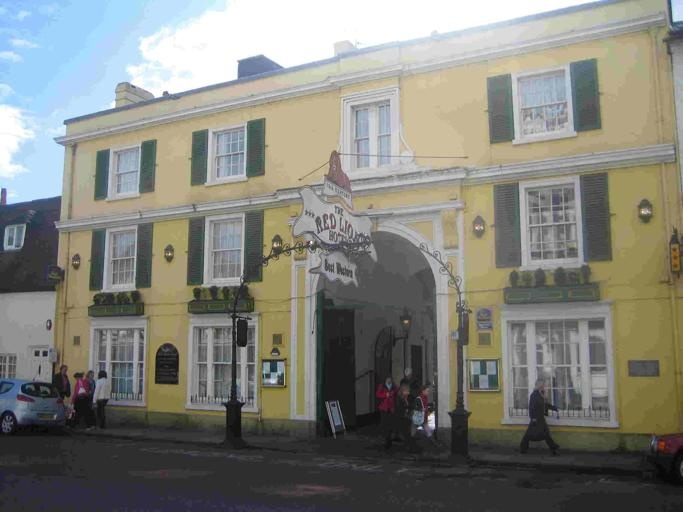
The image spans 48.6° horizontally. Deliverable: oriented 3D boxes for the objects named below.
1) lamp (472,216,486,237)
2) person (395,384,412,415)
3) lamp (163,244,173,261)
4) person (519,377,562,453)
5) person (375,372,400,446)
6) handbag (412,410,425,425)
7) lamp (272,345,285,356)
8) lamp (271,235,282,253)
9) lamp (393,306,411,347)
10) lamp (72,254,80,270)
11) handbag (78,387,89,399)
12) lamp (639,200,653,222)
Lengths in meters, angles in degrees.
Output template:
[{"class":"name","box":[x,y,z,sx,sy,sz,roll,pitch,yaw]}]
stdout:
[{"class":"lamp","box":[4.362,-0.960,24.108,0.418,0.689,0.152,0,-2,8]},{"class":"person","box":[1.867,4.443,23.460,0.549,0.954,0.413,0,-2,-18]},{"class":"lamp","box":[-6.551,-0.138,28.527,0.461,0.634,0.196,-1,-2,26]},{"class":"person","box":[5.808,4.672,22.112,1.014,2.034,1.049,-1,-2,35]},{"class":"person","box":[1.443,4.922,23.997,0.633,2.186,1.432,0,-2,3]},{"class":"handbag","box":[2.333,4.943,23.140,0.379,0.405,0.094,-4,-8,14]},{"class":"lamp","box":[-2.248,3.278,26.216,0.409,0.322,0.133,-1,-2,12]},{"class":"lamp","box":[-2.257,-0.470,26.356,0.400,0.601,1.252,0,-2,-6]},{"class":"lamp","box":[2.602,2.954,31.947,0.344,1.540,1.615,-1,-2,19]},{"class":"lamp","box":[-10.730,0.190,30.437,0.480,0.649,0.160,-1,-2,24]},{"class":"handbag","box":[-9.019,4.745,26.374,0.391,0.463,0.276,0,-7,-14]},{"class":"lamp","box":[8.954,-1.352,22.332,0.494,0.844,0.573,-2,-6,21]}]
